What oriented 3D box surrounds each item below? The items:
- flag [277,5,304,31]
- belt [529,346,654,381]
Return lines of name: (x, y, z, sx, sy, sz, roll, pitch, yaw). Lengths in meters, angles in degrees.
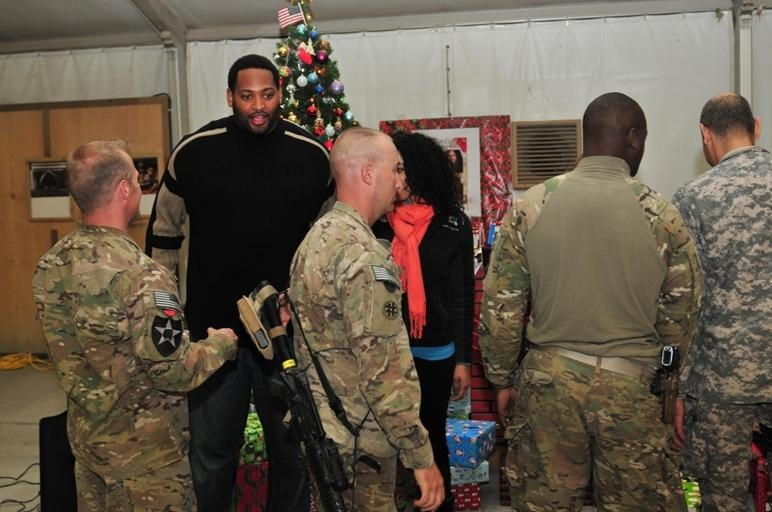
flag: (-0.798, -2.058, 6.412, 0.215, 0.163, 0.187, -2, 0, -2)
belt: (1.217, 0.619, 4.356, 0.663, 0.189, 0.074, -2, -1, 10)
